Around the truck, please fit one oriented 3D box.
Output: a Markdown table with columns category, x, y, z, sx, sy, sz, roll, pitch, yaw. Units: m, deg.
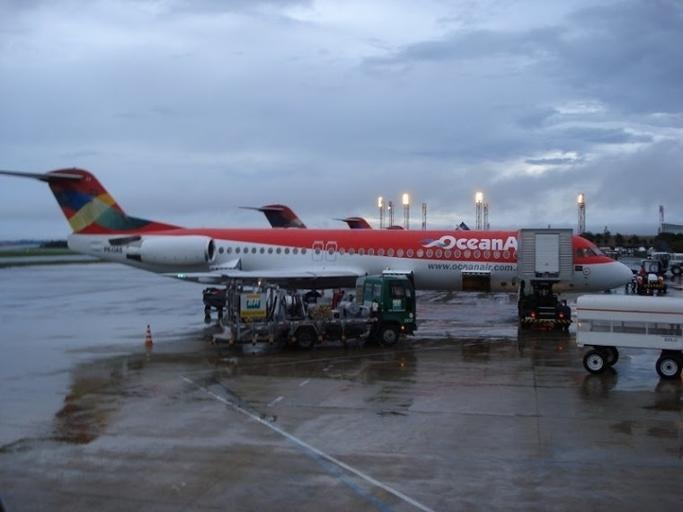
| category | x | y | z | sx | sy | sz | roll | pitch | yaw |
| --- | --- | --- | --- | --- | --- | --- | --- | --- | --- |
| truck | -0.865 | 2.144 | 27.982 | 8.588 | 2.354 | 2.924 | -1 | 0 | -6 |
